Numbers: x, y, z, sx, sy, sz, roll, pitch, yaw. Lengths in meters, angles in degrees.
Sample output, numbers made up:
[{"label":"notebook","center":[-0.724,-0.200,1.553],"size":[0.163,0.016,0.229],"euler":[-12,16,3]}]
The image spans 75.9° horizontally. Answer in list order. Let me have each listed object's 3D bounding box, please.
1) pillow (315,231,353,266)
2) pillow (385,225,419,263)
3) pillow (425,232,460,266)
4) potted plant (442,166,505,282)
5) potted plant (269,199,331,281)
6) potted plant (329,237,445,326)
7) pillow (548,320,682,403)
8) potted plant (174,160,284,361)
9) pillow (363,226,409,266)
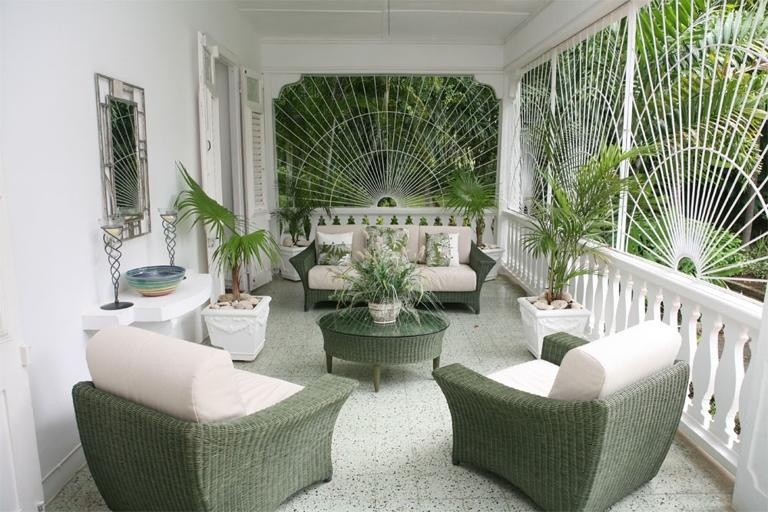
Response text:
[{"label":"pillow","center":[-0.648,-0.086,6.387],"size":[0.414,0.418,0.160],"euler":[1,-20,-2]},{"label":"pillow","center":[0.335,-0.191,6.358],"size":[0.461,0.494,0.217],"euler":[0,-7,1]},{"label":"pillow","center":[0.756,-0.076,6.321],"size":[0.360,0.383,0.137],"euler":[1,-16,-1]},{"label":"potted plant","center":[1.474,-0.529,7.655],"size":[0.808,1.677,0.911],"euler":[-2,3,-19]},{"label":"potted plant","center":[-1.422,-0.299,7.899],"size":[1.225,1.408,1.046],"euler":[0,9,-16]},{"label":"potted plant","center":[0.043,0.286,4.441],"size":[0.652,0.640,0.667],"euler":[3,3,27]},{"label":"pillow","center":[1.359,0.609,2.878],"size":[0.790,0.379,0.269],"euler":[-6,11,-28]},{"label":"potted plant","center":[-1.575,0.121,5.020],"size":[1.028,1.777,1.098],"euler":[-3,-8,44]},{"label":"pillow","center":[0.040,-0.120,5.561],"size":[0.489,0.534,0.208],"euler":[1,-30,0]}]
